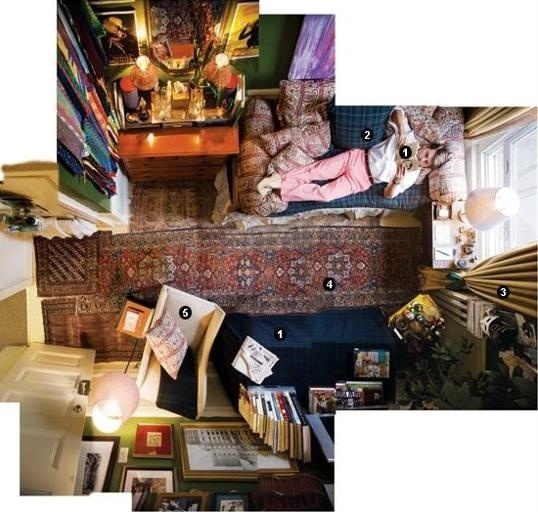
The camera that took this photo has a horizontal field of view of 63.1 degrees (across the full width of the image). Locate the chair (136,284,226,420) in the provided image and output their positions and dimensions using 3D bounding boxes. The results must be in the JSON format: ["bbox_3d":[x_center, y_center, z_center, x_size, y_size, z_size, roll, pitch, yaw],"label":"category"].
[{"bbox_3d":[-0.652,0.745,3.382,0.692,0.817,0.951,16,76,-19],"label":"chair"}]

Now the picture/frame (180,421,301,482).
[{"bbox_3d":[-0.356,1.380,3.125,0.637,0.886,0.066,5,88,-17],"label":"picture/frame"}]

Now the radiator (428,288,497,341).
[{"bbox_3d":[1.315,0.334,3.034,0.163,0.537,0.233,3,103,-16],"label":"radiator"}]

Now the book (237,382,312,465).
[{"bbox_3d":[0.056,1.148,3.046,0.388,0.165,0.488,11,42,-12],"label":"book"}]

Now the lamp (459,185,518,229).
[{"bbox_3d":[1.408,-0.302,2.813,0.268,0.243,0.267,-16,89,-31],"label":"lamp"}]

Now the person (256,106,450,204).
[{"bbox_3d":[0.389,-0.744,3.023,1.166,0.519,0.372,-30,102,-25],"label":"person"}]

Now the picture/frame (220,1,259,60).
[{"bbox_3d":[-0.167,-1.291,2.518,0.219,0.205,0.215,-3,82,-4],"label":"picture/frame"}]

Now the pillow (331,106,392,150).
[{"bbox_3d":[0.578,-0.804,2.706,0.220,0.217,0.081,-5,42,0],"label":"pillow"}]

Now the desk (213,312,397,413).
[{"bbox_3d":[0.324,0.599,3.580,1.303,0.923,0.704,2,99,4],"label":"desk"}]

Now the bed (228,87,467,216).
[{"bbox_3d":[0.531,-0.626,2.795,1.405,0.594,0.694,-1,102,4],"label":"bed"}]

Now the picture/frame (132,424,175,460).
[{"bbox_3d":[-0.803,1.303,3.097,0.297,0.178,0.185,2,82,-4],"label":"picture/frame"}]
